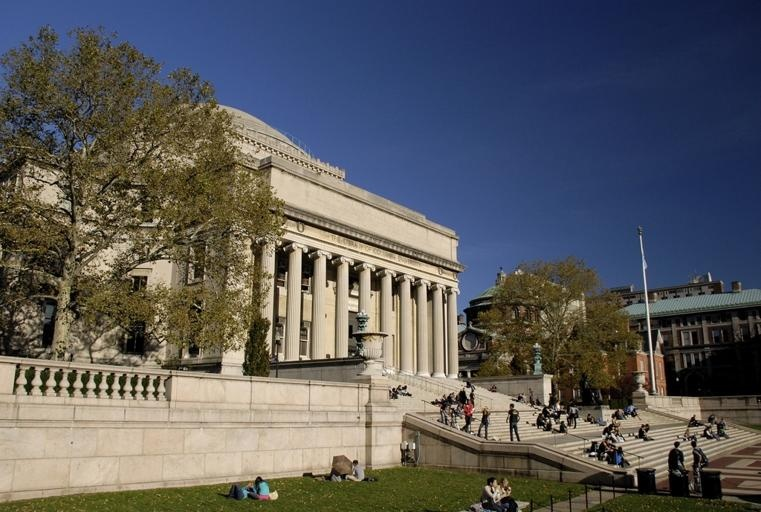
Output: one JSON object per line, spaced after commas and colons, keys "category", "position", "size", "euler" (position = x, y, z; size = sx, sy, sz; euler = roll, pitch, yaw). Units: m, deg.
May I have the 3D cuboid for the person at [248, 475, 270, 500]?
{"category": "person", "position": [-4.811, 9.216, 24.754], "size": [0.612, 0.701, 0.913], "euler": [8, -9, -25]}

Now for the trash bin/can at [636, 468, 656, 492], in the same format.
{"category": "trash bin/can", "position": [11.466, 9.675, 26.811], "size": [0.738, 0.986, 0.529], "euler": [-3, -18, 11]}

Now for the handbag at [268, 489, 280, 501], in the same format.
{"category": "handbag", "position": [-4.242, 9.550, 24.780], "size": [0.359, 0.171, 0.476], "euler": [2, -3, 1]}

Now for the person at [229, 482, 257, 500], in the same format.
{"category": "person", "position": [-5.406, 9.243, 24.372], "size": [1.047, 0.576, 0.684], "euler": [5, -18, -13]}

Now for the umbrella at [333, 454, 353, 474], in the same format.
{"category": "umbrella", "position": [-1.727, 9.722, 28.911], "size": [0.678, 0.779, 0.495], "euler": [22, -46, -6]}

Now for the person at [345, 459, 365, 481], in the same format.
{"category": "person", "position": [-1.047, 10.163, 29.198], "size": [0.910, 1.064, 0.830], "euler": [-3, -29, 13]}
